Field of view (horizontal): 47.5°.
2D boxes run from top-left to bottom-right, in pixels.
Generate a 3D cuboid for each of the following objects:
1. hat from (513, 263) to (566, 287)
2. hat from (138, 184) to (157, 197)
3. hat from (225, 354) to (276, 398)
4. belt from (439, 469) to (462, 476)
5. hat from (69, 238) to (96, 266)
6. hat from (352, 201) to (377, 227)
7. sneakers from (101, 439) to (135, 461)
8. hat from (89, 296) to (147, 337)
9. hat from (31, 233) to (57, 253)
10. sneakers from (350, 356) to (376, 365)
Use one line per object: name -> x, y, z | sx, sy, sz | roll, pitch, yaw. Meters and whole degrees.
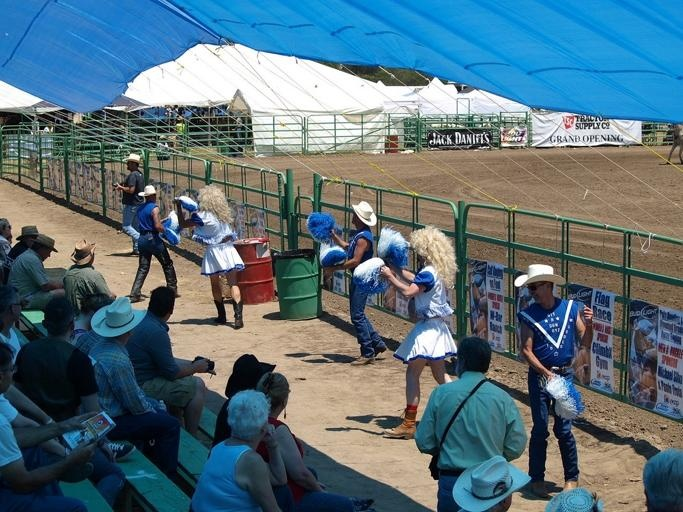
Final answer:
hat -> 1.811, 0.182, 7.057 | 0.379, 0.237, 0.475 | 2, 7, 6
hat -> -3.439, -1.147, 13.857 | 0.347, 0.147, 0.389 | -1, 8, 4
hat -> -0.689, 0.939, 5.778 | 0.345, 0.350, 0.470 | 0, 7, -7
belt -> 0.779, 1.539, 5.522 | 0.093, 0.021, 0.093 | -1, 2, 3
hat -> -3.396, -0.029, 10.199 | 0.254, 0.291, 0.665 | -2, 8, -20
hat -> 0.297, -0.552, 10.307 | 0.287, 0.332, 0.393 | 1, 7, 0
sneakers -> -1.904, 1.615, 6.427 | 0.371, 0.166, 0.125 | -1, 14, 2
hat -> -1.933, 0.521, 6.708 | 0.451, 0.333, 0.446 | -1, 7, -18
hat -> -4.372, -0.186, 11.368 | 0.393, 0.135, 0.328 | 26, -3, -24
sneakers -> 0.299, 1.433, 10.727 | 0.319, 0.131, 0.122 | -1, 8, -13
